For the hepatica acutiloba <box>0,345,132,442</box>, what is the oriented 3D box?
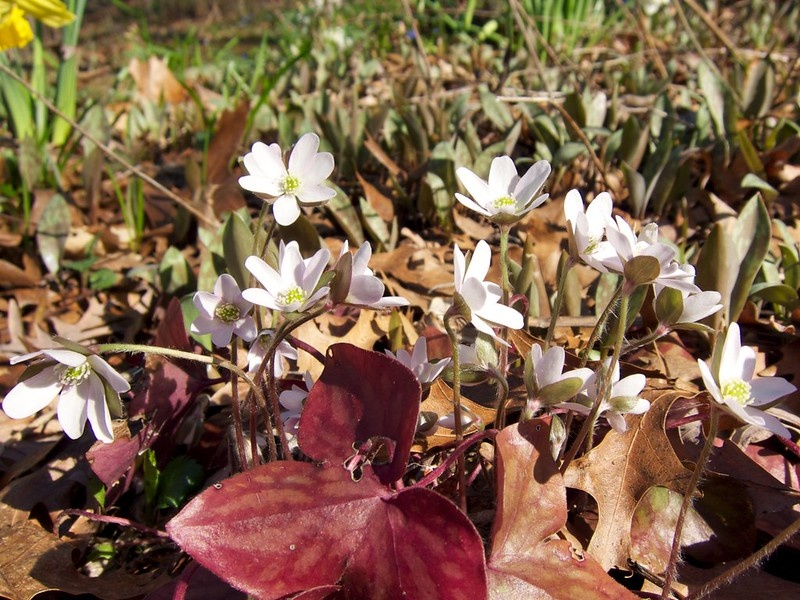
[{"bbox_3d":[-0.732,0.209,1.613,0.278,0.220,0.132,13,32,8],"label":"hepatica acutiloba"}]
